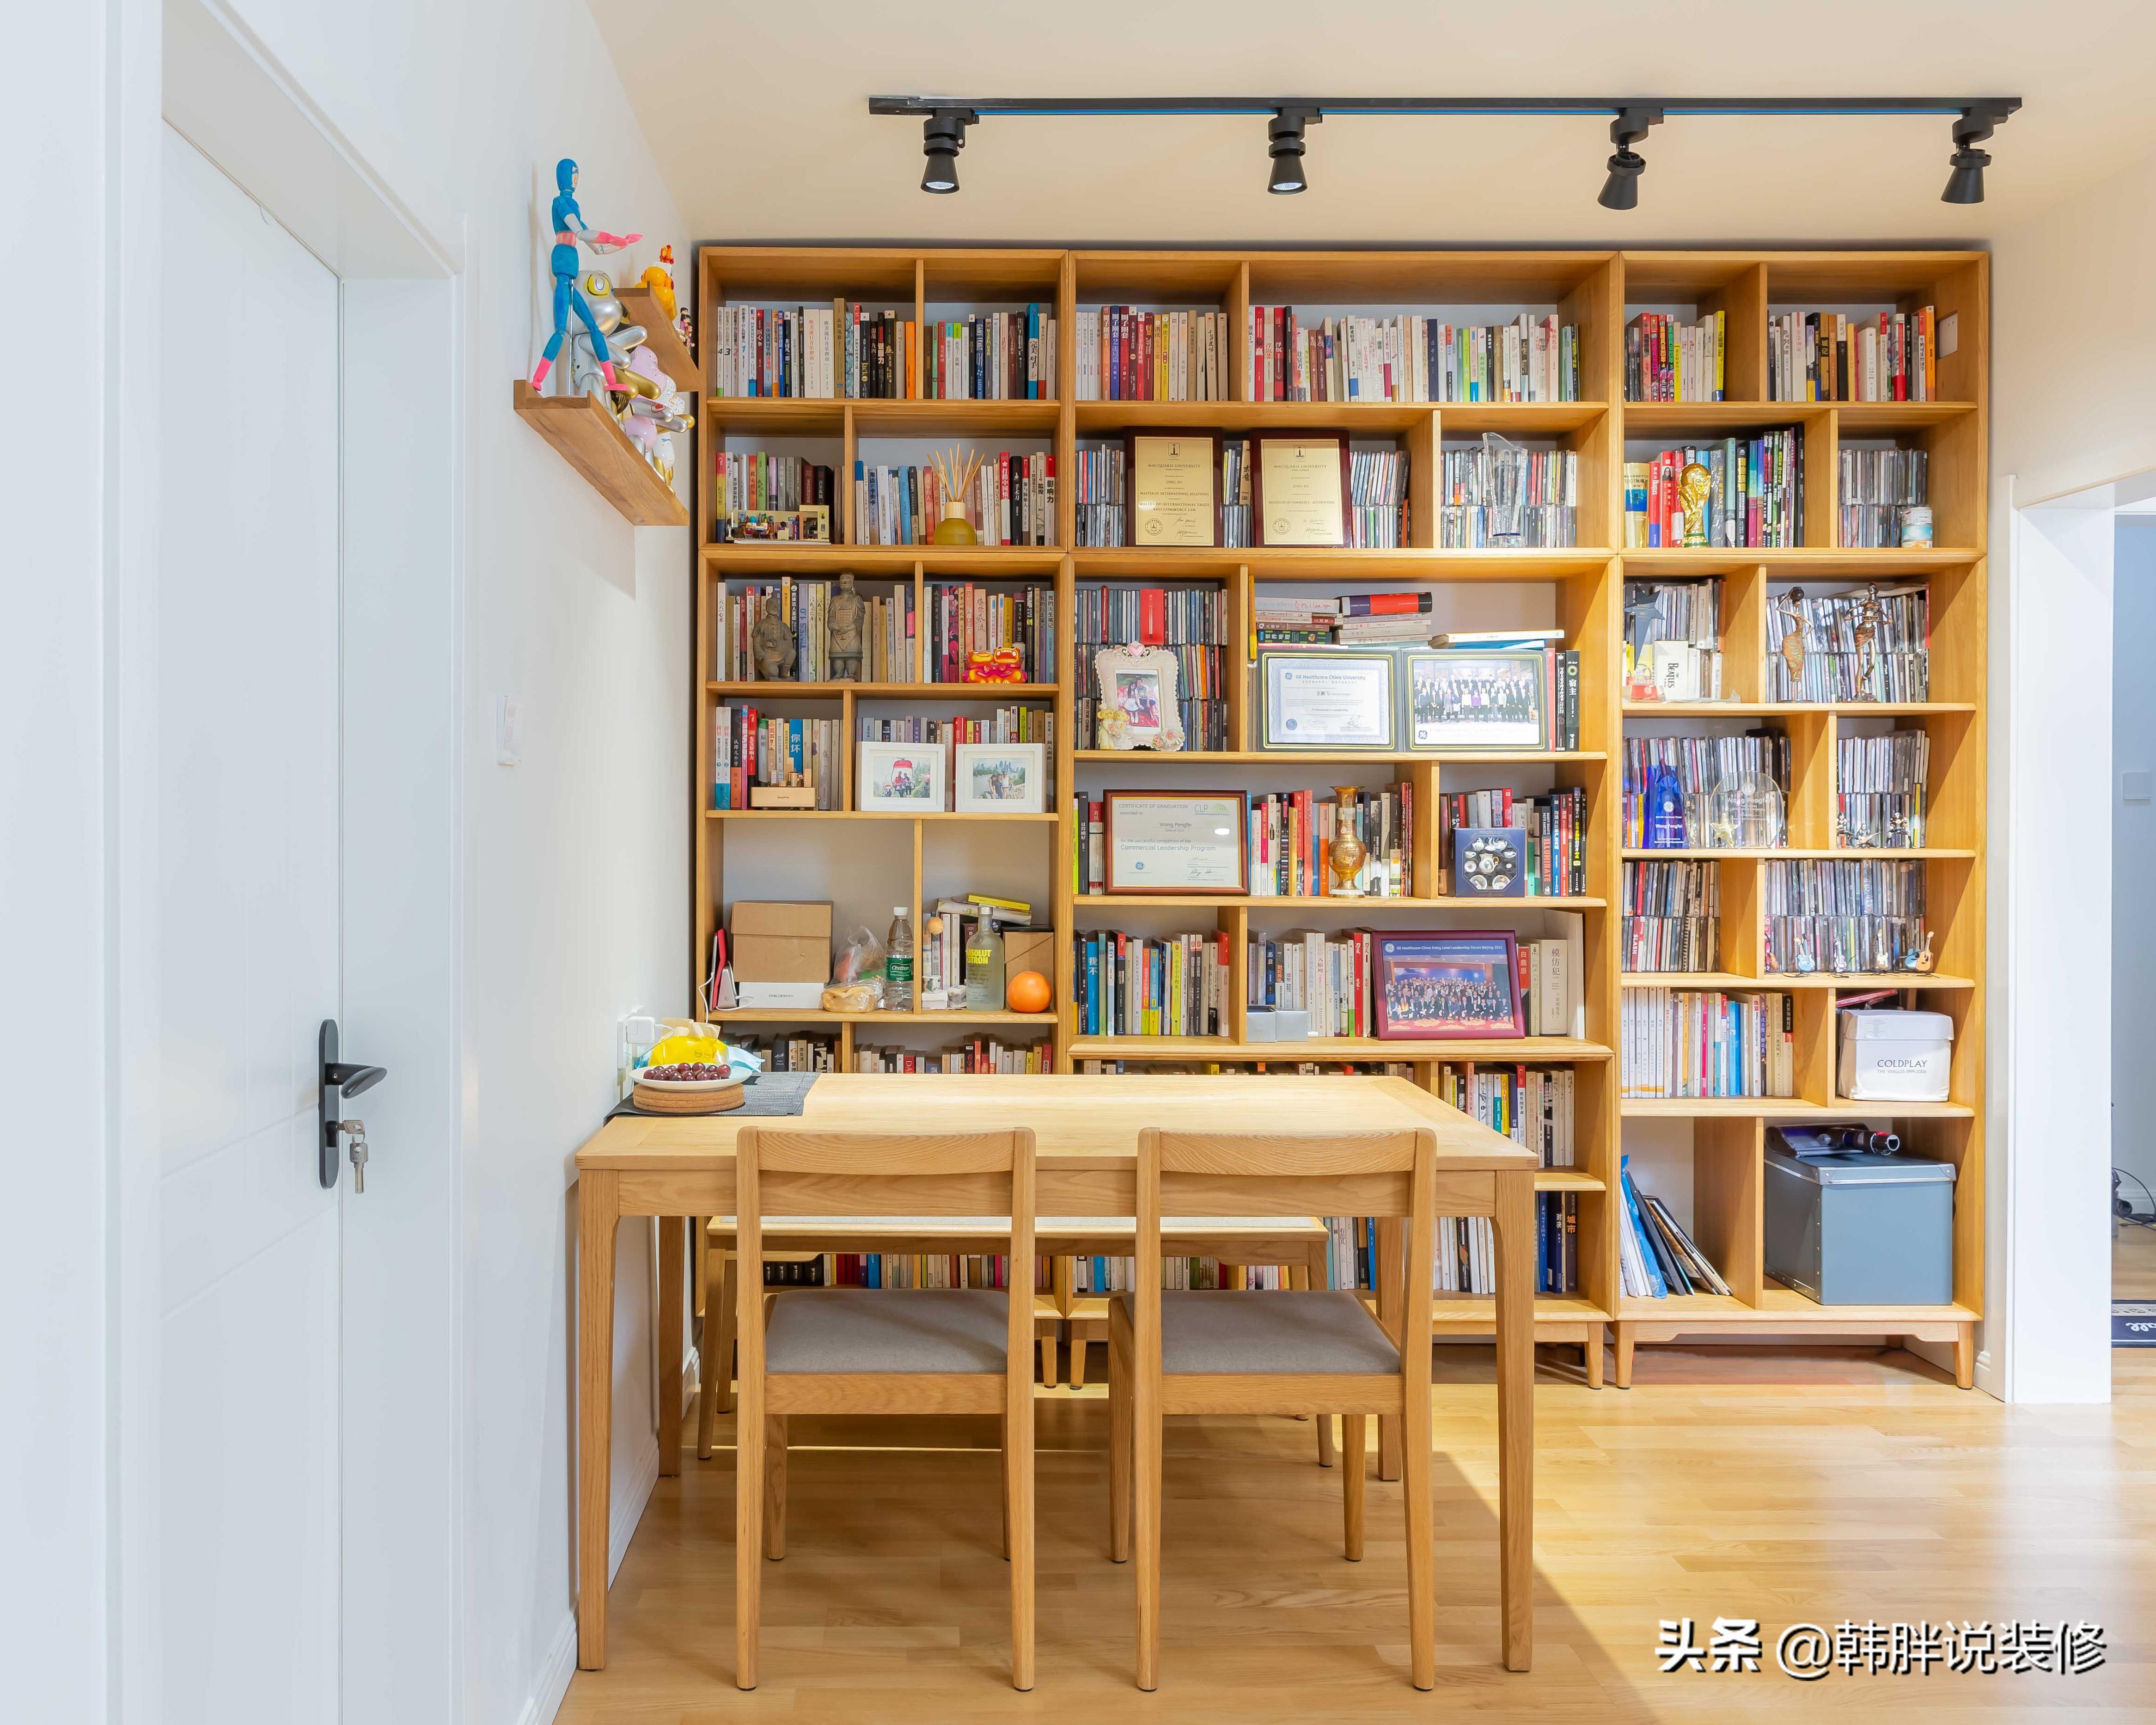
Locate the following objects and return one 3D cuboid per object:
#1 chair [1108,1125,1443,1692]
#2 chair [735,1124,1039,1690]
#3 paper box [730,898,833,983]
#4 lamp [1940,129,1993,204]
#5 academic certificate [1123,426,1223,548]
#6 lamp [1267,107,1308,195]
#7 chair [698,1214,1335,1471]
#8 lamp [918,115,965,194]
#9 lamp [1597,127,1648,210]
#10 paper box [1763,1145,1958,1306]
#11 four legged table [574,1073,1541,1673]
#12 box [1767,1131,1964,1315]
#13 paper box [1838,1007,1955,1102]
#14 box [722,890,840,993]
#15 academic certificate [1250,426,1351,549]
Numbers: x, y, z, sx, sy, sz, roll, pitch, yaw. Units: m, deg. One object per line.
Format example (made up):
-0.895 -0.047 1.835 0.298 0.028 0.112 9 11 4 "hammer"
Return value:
0.354 0.966 4.368 0.788 1.099 0.750 -1 3 -9 "chair"
-0.353 0.923 4.172 0.534 0.981 0.554 0 11 -1 "chair"
-0.724 0.190 5.443 0.194 0.157 0.199 0 -3 -4 "paper box"
1.877 -1.472 4.816 0.083 0.153 0.324 5 12 22 "lamp"
0.221 -0.887 5.464 0.278 0.364 0.039 0 -6 -2 "academic certificate"
0.442 -1.484 4.758 0.104 0.161 0.316 1 11 4 "lamp"
-0.070 1.094 5.290 1.347 0.464 0.944 -1 -12 3 "chair"
-0.285 -1.489 4.797 0.097 0.149 0.321 0 11 -3 "lamp"
1.144 -1.467 4.805 0.090 0.170 0.261 3 11 12 "lamp"
1.892 0.877 5.562 0.331 0.315 0.349 0 0 -1 "paper box"
-0.243 1.114 4.557 1.490 0.801 1.036 0 -3 1 "four legged table"
1.917 0.888 5.557 0.355 0.334 0.371 -1 1 9 "box"
1.944 0.459 5.393 0.213 0.205 0.223 1 -3 8 "paper box"
-0.722 0.197 5.439 0.206 0.224 0.216 0 -1 -5 "box"
0.528 -0.888 5.474 0.281 0.346 0.046 0 -10 -1 "academic certificate"
